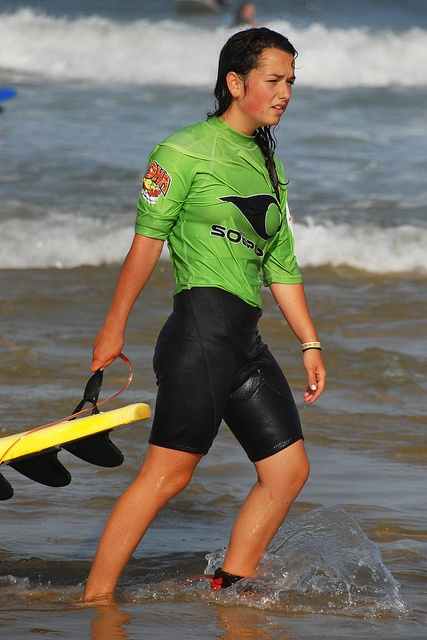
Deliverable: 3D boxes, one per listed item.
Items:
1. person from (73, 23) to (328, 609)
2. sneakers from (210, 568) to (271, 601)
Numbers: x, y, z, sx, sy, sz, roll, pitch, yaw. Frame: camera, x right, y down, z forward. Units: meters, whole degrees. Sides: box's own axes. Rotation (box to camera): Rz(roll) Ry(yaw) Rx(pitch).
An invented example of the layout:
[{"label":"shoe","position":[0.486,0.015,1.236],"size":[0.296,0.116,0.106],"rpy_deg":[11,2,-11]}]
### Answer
[{"label":"person","position":[-0.031,-0.016,2.741],"size":[0.712,1.905,0.718],"rpy_deg":[4,20,-31]},{"label":"sneakers","position":[0.098,0.905,2.830],"size":[0.173,0.070,0.117],"rpy_deg":[3,2,17]}]
